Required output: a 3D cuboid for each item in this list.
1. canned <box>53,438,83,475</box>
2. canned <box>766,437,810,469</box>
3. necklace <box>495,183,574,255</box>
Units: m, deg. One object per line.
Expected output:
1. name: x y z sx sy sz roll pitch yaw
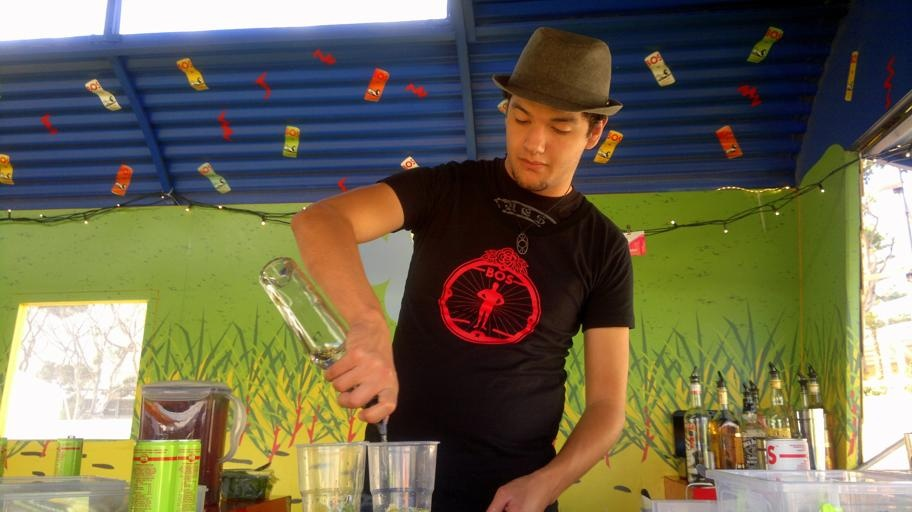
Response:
1. canned: -2.443 1.256 3.967 0.149 0.210 0.105 11 -24 -28
2. canned: 1.738 1.023 3.306 0.197 0.120 0.180 1 -4 -8
3. necklace: 0.424 -0.197 3.518 0.434 0.331 0.064 10 -27 4
